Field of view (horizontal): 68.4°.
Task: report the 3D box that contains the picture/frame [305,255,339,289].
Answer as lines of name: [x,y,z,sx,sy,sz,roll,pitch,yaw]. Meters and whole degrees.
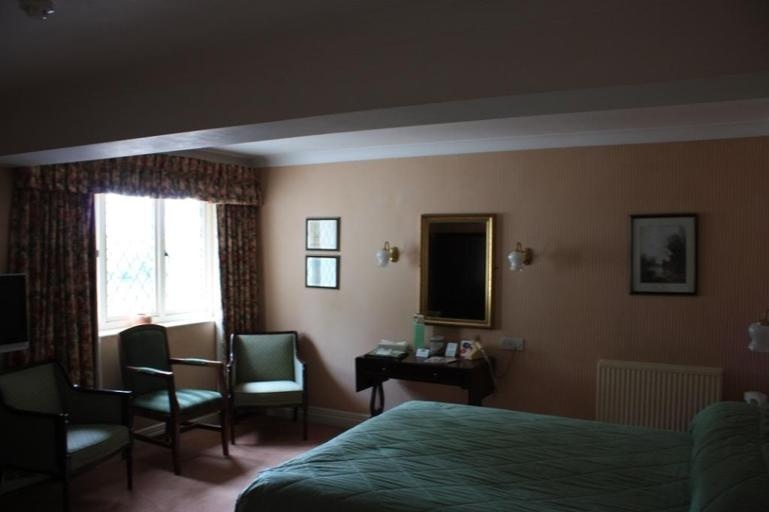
picture/frame: [-0.697,0.178,6.445,0.396,0.320,0.153,0,-2,28]

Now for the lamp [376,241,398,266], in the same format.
lamp: [0.041,-0.029,6.007,0.232,0.332,0.255,-1,-1,-34]

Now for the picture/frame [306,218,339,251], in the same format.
picture/frame: [-0.692,-0.251,6.433,0.391,0.349,0.140,0,0,27]

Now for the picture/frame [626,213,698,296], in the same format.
picture/frame: [2.519,-0.010,5.074,0.775,1.017,0.058,0,-2,25]

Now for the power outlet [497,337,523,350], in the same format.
power outlet: [1.256,0.864,5.600,0.244,0.126,0.055,3,-3,16]

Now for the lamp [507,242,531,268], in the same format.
lamp: [1.305,0.007,5.460,0.265,0.298,0.182,5,-6,-39]
